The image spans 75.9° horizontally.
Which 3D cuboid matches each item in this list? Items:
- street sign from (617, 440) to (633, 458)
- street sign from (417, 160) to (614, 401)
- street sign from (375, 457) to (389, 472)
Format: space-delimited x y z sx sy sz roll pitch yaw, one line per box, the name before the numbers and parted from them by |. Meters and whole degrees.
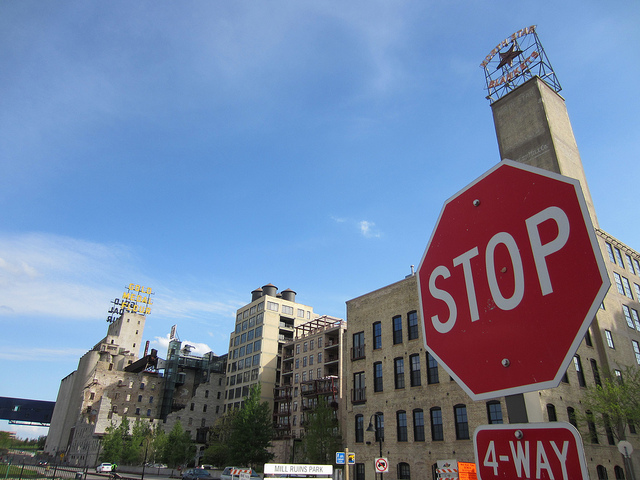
street sign | 13.088 8.908 17.600 0.167 0.745 0.703 5 -10 -14
street sign | 1.550 0.258 3.404 0.281 1.881 1.471 20 -33 -27
street sign | 2.988 11.064 20.330 0.672 0.538 0.445 13 -30 -16
